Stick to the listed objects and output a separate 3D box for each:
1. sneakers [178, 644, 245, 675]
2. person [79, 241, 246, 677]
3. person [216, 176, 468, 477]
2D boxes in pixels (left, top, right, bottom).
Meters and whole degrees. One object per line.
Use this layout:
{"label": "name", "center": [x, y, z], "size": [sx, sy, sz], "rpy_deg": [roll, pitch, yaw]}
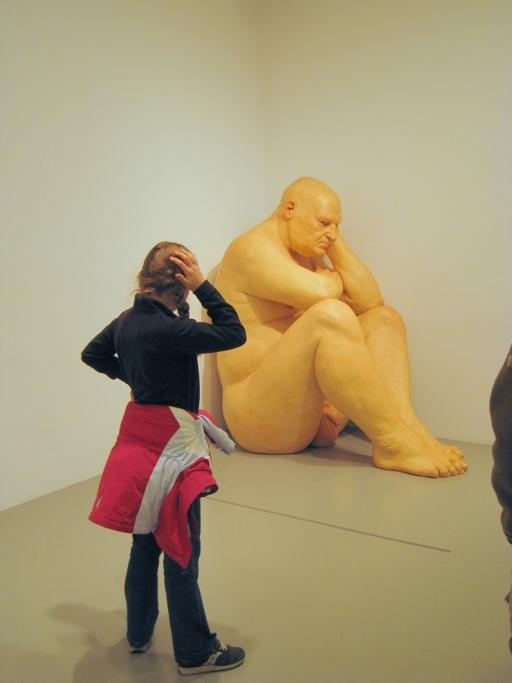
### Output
{"label": "sneakers", "center": [-0.095, 0.715, 1.592], "size": [0.169, 0.060, 0.052], "rpy_deg": [-1, 1, -12]}
{"label": "person", "center": [-0.223, 0.245, 1.684], "size": [0.427, 0.943, 0.518], "rpy_deg": [-4, 14, -1]}
{"label": "person", "center": [0.327, -0.081, 2.944], "size": [0.689, 1.211, 1.018], "rpy_deg": [-14, 17, -37]}
